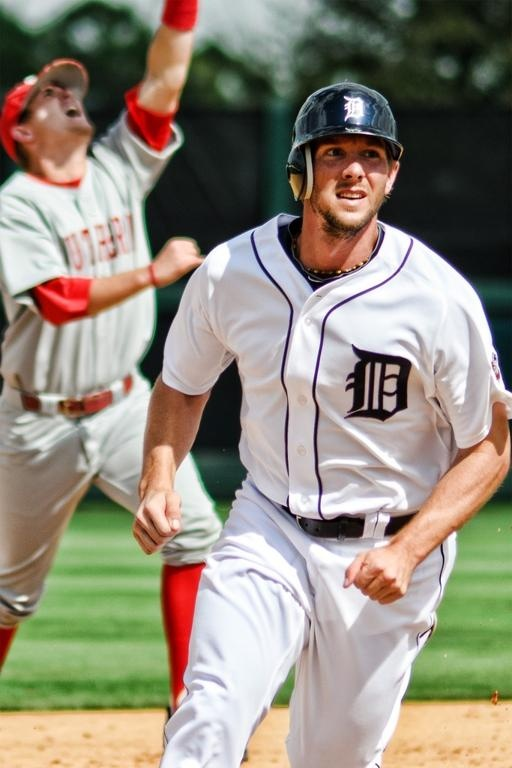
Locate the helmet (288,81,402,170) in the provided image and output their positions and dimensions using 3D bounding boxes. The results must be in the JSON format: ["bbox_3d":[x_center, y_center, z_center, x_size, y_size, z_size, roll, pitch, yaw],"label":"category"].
[{"bbox_3d":[0.181,-0.543,2.078,0.214,0.165,0.202,2,-9,-10],"label":"helmet"}]
